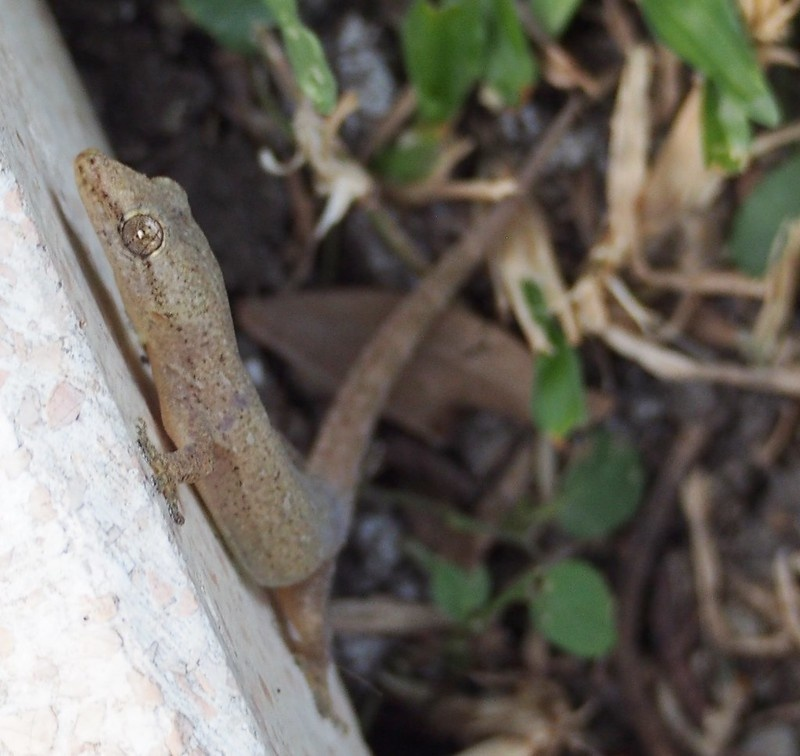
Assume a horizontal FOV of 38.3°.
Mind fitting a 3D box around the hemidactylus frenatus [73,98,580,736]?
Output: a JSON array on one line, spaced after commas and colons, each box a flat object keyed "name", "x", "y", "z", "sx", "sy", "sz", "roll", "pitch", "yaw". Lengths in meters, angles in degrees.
[{"name": "hemidactylus frenatus", "x": -0.100, "y": 0.077, "z": 1.437, "sx": 0.397, "sy": 0.599, "sz": 0.690, "roll": 35, "pitch": 31, "yaw": 28}]
